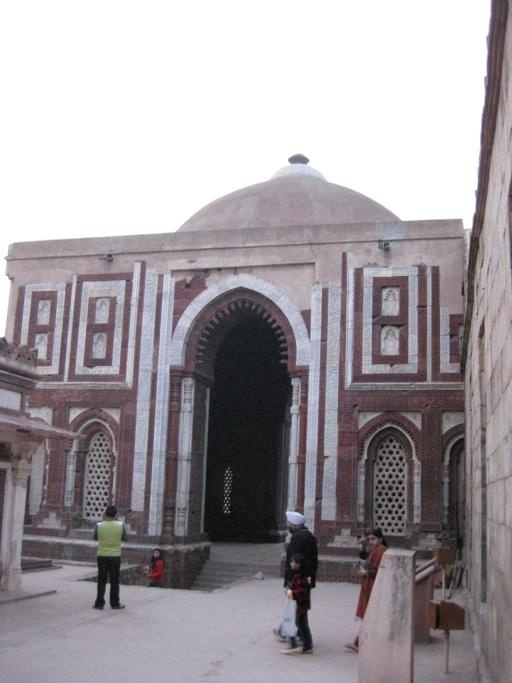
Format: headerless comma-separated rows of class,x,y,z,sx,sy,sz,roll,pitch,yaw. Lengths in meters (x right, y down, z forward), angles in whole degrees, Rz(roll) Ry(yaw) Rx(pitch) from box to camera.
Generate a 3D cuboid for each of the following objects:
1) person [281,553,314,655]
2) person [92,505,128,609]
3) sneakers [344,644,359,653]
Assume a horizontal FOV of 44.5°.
person,0.354,2.142,5.121,0.200,0.772,0.447,0,-11,10
person,-1.651,2.437,7.069,0.371,1.135,0.952,4,-11,-11
sneakers,0.787,2.559,5.239,0.076,0.057,0.209,4,-12,-8
